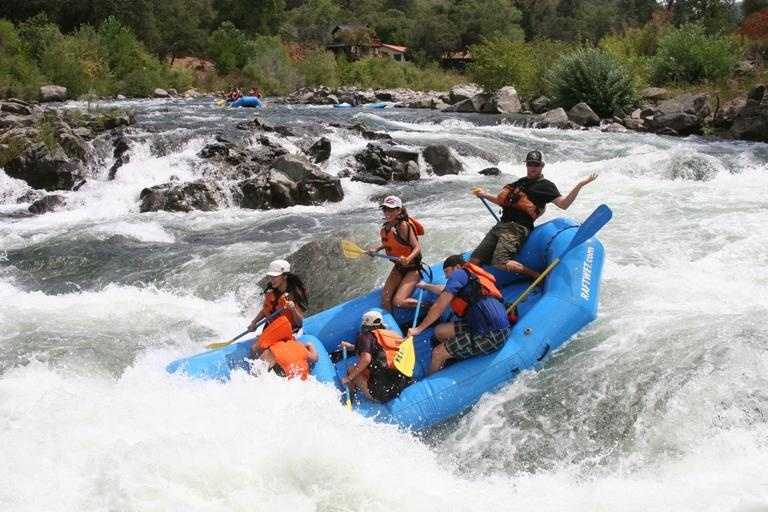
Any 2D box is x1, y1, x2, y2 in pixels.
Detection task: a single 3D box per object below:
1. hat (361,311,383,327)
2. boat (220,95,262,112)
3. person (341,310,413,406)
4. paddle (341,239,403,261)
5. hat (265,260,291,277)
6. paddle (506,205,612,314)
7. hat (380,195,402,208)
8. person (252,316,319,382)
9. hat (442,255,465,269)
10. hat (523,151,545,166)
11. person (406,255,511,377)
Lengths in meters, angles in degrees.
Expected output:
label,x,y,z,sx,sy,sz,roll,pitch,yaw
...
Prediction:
label,x,y,z,sx,sy,sz,roll,pitch,yaw
hat,-0.189,0.890,10.416,0.288,0.148,0.175,-6,12,-1
boat,-5.698,-6.035,28.805,1.549,0.457,1.639,-8,28,-14
person,-0.123,1.507,10.394,0.758,1.307,1.014,-11,37,-32
paddle,-0.384,-0.107,11.672,1.345,0.344,0.239,4,29,29
hat,-1.568,0.163,10.762,0.397,0.184,0.286,-1,5,-3
paddle,2.695,0.094,11.340,2.838,0.327,0.101,-38,-5,0
hat,0.149,-0.852,11.210,0.235,0.161,0.322,-1,-7,26
person,-1.445,1.324,10.361,0.953,0.339,0.747,26,72,5
hat,1.042,0.071,10.646,0.245,0.215,0.187,-13,15,46
hat,2.454,-1.580,11.871,0.339,0.259,0.515,7,9,19
person,1.078,0.937,10.646,1.473,0.828,1.746,14,66,28
